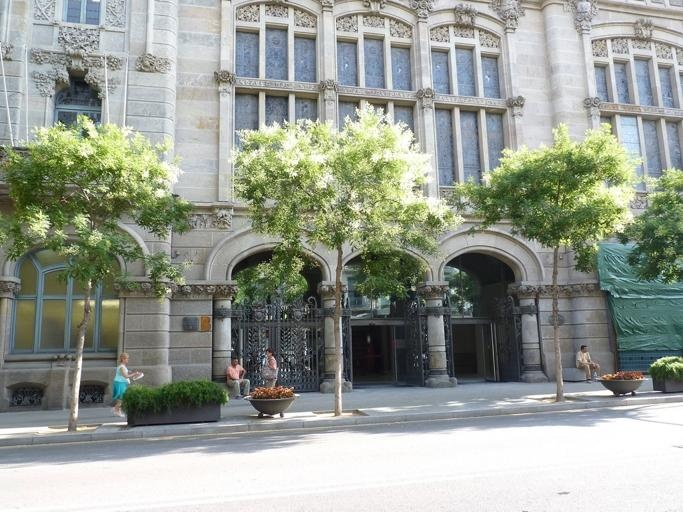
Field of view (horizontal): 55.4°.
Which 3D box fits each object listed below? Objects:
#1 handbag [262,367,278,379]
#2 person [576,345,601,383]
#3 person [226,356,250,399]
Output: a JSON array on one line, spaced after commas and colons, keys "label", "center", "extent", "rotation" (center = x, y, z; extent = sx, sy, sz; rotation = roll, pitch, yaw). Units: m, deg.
[{"label": "handbag", "center": [-2.446, 4.013, 22.297], "extent": [0.605, 0.375, 0.319], "rotation": [1, -13, -7]}, {"label": "person", "center": [9.726, 4.189, 25.609], "extent": [0.771, 1.381, 1.019], "rotation": [-5, -7, 29]}, {"label": "person", "center": [-3.684, 4.295, 23.212], "extent": [0.837, 1.389, 1.208], "rotation": [-1, -6, -10]}]
